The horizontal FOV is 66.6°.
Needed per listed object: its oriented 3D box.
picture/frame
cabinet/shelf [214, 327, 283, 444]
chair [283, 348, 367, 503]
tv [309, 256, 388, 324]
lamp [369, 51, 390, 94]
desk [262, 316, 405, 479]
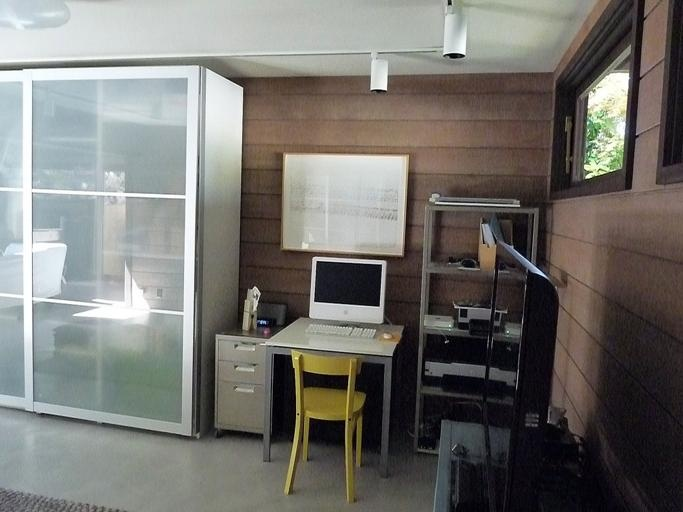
[{"bbox_3d":[0.068,-0.402,3.910,0.707,0.629,0.029,2,3,12],"label":"picture/frame"},{"bbox_3d":[-0.695,0.891,3.878,0.396,0.829,0.435,6,19,-1],"label":"cabinet/shelf"},{"bbox_3d":[-0.099,0.990,3.321,0.486,0.866,0.677,2,9,2],"label":"chair"},{"bbox_3d":[0.050,0.252,3.759,0.414,0.406,0.144,3,-5,10],"label":"tv"},{"bbox_3d":[0.243,-1.186,3.364,0.117,0.221,0.121,-8,13,-43],"label":"lamp"},{"bbox_3d":[-0.115,1.091,3.682,0.833,0.816,0.909,6,-15,6],"label":"desk"}]
